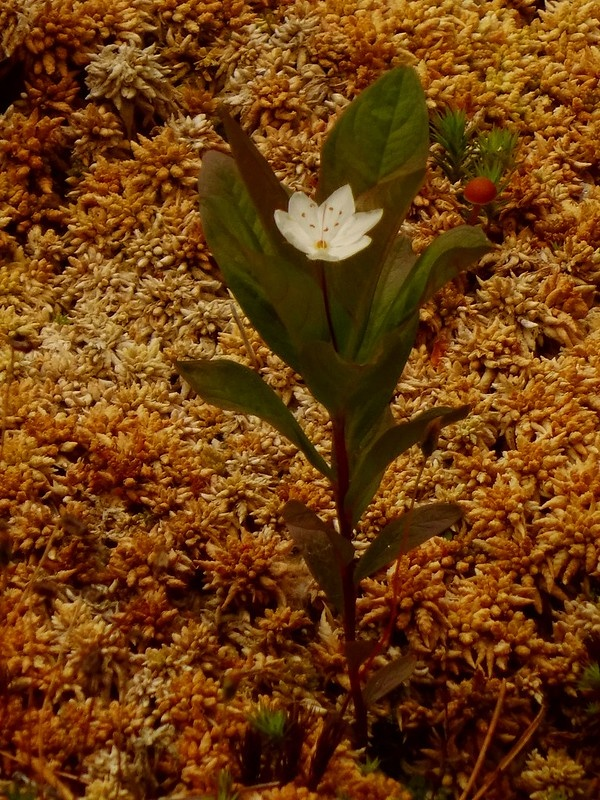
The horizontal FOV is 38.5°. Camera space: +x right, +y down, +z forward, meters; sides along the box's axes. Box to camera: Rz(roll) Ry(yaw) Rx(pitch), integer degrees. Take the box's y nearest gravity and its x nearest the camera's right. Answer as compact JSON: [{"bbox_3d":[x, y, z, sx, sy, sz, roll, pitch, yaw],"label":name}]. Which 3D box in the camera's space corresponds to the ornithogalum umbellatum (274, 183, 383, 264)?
[{"bbox_3d":[0.049,-0.300,1.463,0.172,0.119,0.143,7,25,19],"label":"ornithogalum umbellatum"}]
